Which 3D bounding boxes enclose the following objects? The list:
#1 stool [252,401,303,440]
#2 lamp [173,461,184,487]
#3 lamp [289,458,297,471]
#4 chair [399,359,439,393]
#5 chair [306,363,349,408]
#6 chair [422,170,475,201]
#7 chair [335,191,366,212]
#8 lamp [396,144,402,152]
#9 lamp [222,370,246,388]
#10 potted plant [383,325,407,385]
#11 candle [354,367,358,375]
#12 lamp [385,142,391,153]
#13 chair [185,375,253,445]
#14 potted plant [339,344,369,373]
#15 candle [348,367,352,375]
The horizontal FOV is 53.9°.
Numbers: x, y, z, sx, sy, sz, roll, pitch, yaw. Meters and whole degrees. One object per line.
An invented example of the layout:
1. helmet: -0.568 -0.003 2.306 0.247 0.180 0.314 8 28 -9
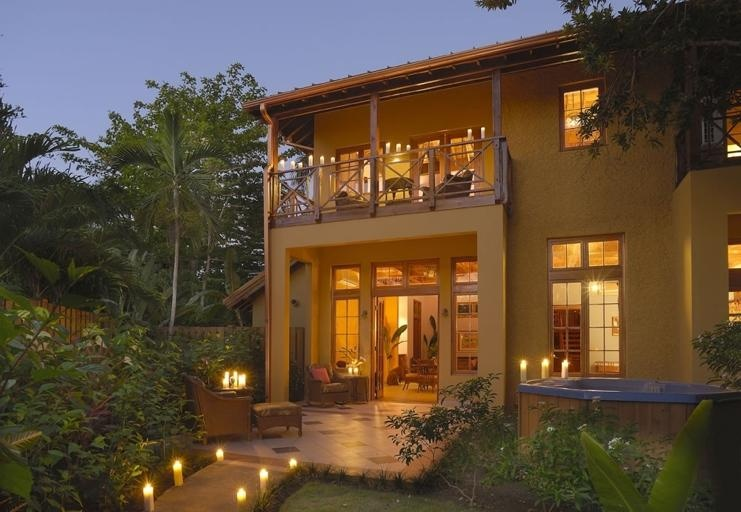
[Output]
1. stool: -1.591 2.733 12.425 0.565 0.456 0.632 0 -1 -14
2. lamp: -2.637 2.980 10.013 0.126 0.342 0.247 2 -9 -15
3. lamp: -1.096 3.000 10.496 0.114 0.148 0.117 -1 -1 44
4. chair: 1.220 2.933 18.307 0.781 1.221 0.831 -1 -12 10
5. chair: -0.917 2.818 15.893 0.728 0.973 0.976 3 -11 -24
6. chair: 1.634 -1.399 14.232 0.708 0.925 0.705 3 1 16
7. chair: -0.444 -1.126 15.151 0.406 0.418 0.613 0 -2 12
8. lamp: 0.654 -2.441 16.178 0.113 0.186 0.133 0 -9 3
9. lamp: -2.431 2.237 13.132 0.305 0.329 0.333 -6 -11 32
10. potted plant: 0.741 2.778 20.484 0.599 1.649 1.857 0 -10 4
11. candle: -0.313 2.579 16.282 0.111 0.241 0.119 2 -6 -14
12. lamp: 0.417 -2.419 16.194 0.120 0.321 0.355 0 -10 -1
13. chair: -2.558 2.532 12.242 1.053 1.240 0.880 0 -2 -22
14. potted plant: -0.345 2.330 16.624 0.530 0.618 0.546 4 -3 -25
15. candle: -0.441 2.563 16.302 0.108 0.219 0.111 4 -7 -29
